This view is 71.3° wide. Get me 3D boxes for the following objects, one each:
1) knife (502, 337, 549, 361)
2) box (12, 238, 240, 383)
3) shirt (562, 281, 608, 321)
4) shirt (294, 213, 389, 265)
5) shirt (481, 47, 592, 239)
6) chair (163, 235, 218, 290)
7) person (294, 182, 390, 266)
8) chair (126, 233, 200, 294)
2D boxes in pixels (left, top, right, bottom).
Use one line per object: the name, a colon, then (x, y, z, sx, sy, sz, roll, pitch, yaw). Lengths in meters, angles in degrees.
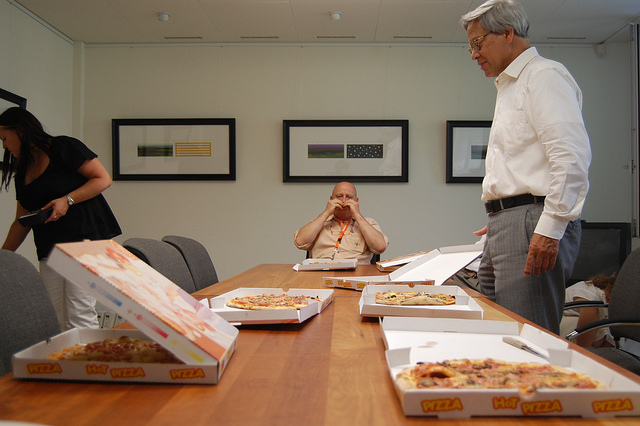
knife: (0.606, 0.396, 1.333, 0.032, 0.016, 0.151, -11, 19, -33)
box: (-0.531, 0.268, 1.247, 0.453, 0.293, 0.460, 0, -1, -1)
shirt: (1.870, 0.628, 3.177, 0.157, 0.290, 0.289, 9, -20, 18)
shirt: (0.164, 0.245, 3.418, 0.642, 0.362, 0.546, -2, 47, 9)
shirt: (1.037, -0.350, 2.115, 0.326, 0.886, 0.456, -3, 6, -20)
chair: (-0.844, 0.335, 2.913, 0.262, 0.229, 0.380, -16, -34, -5)
person: (0.222, 0.085, 3.817, 0.748, 0.453, 1.535, -3, 27, 3)
chair: (-0.858, 0.264, 2.537, 0.340, 0.446, 0.318, 0, -3, 16)
